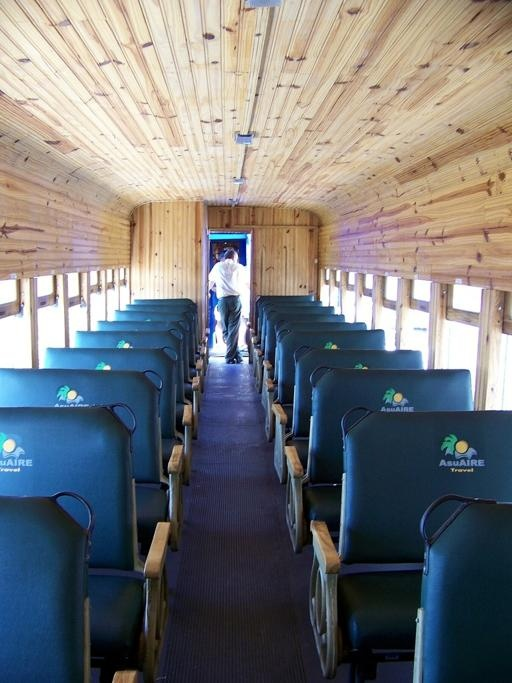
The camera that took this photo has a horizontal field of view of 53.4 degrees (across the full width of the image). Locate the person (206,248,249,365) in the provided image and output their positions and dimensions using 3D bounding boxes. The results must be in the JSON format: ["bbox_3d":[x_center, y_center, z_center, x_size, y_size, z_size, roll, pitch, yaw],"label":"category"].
[{"bbox_3d":[-0.542,-0.662,9.819,0.707,2.215,0.455,0,6,-3],"label":"person"}]
